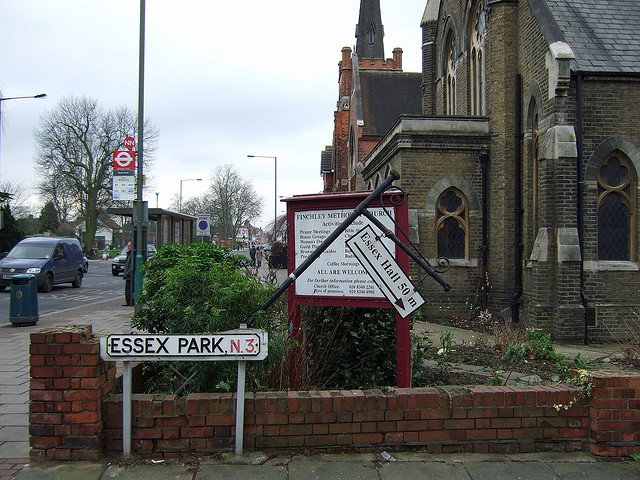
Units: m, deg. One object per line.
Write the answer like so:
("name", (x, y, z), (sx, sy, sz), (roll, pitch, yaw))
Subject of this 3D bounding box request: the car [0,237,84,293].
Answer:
("car", (-9.523, 0.784, 25.082), (1.555, 1.499, 2.935), (-2, -7, 8))

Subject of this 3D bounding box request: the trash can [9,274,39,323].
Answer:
("trash can", (-6.772, 1.385, 16.628), (0.601, 1.144, 0.449), (-5, 9, -27))

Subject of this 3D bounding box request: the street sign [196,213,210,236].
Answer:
("street sign", (-5.425, -0.640, 33.628), (0.591, 1.160, 2.462), (-2, 9, -12))

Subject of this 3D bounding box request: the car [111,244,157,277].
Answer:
("car", (-8.409, 0.845, 33.452), (1.285, 1.419, 2.582), (-3, 0, 20))

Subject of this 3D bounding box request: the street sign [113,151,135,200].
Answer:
("street sign", (-4.262, -1.412, 15.912), (0.744, 1.092, 0.517), (5, 10, 35))
